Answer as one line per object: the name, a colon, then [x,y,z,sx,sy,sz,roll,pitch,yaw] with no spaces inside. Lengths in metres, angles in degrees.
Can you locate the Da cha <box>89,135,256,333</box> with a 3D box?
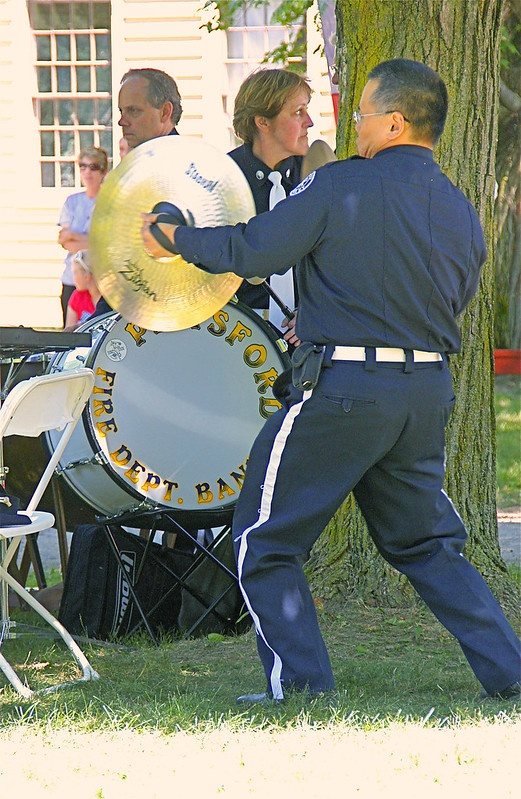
Da cha: [-0.283,-0.546,4.372,0.662,0.540,0.655,-10,15,-21]

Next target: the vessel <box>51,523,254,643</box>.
vessel: [-0.435,0.724,5.275,0.636,0.472,0.371,2,5,-9]

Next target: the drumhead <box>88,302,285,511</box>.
drumhead: [-0.351,-0.003,5.302,0.795,0.734,0.734,-7,21,-23]
